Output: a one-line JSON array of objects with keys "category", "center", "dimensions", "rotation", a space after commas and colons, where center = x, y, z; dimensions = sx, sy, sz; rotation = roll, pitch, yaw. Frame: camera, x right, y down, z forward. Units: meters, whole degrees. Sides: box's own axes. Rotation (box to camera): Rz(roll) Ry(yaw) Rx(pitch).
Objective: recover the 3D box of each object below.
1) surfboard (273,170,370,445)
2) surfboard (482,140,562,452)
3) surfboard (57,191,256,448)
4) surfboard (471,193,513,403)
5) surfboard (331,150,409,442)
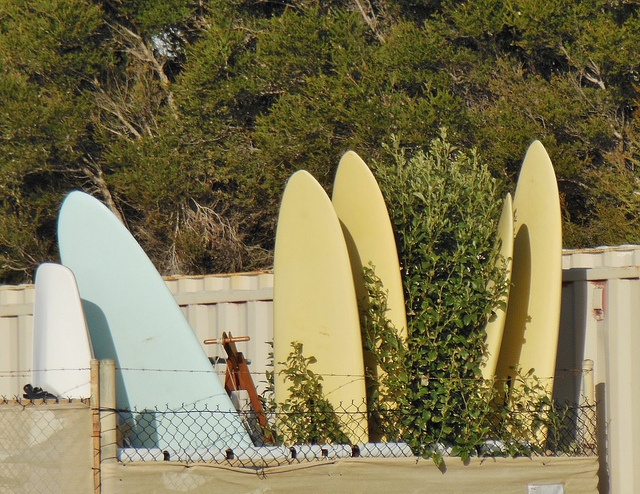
[{"category": "surfboard", "center": [-0.073, 0.717, 35.256], "dimensions": [1.229, 4.360, 1.320], "rotation": [-5, 4, -25]}, {"category": "surfboard", "center": [3.239, 0.482, 35.311], "dimensions": [0.990, 5.016, 0.539], "rotation": [1, 5, 14]}, {"category": "surfboard", "center": [-2.711, 1.072, 35.165], "dimensions": [2.425, 4.017, 0.702], "rotation": [-3, -4, -8]}, {"category": "surfboard", "center": [2.678, 0.640, 35.215], "dimensions": [0.653, 2.857, 0.650], "rotation": [-4, -4, 5]}, {"category": "surfboard", "center": [0.804, 0.690, 35.442], "dimensions": [0.926, 4.651, 1.027], "rotation": [-3, 3, -19]}]
